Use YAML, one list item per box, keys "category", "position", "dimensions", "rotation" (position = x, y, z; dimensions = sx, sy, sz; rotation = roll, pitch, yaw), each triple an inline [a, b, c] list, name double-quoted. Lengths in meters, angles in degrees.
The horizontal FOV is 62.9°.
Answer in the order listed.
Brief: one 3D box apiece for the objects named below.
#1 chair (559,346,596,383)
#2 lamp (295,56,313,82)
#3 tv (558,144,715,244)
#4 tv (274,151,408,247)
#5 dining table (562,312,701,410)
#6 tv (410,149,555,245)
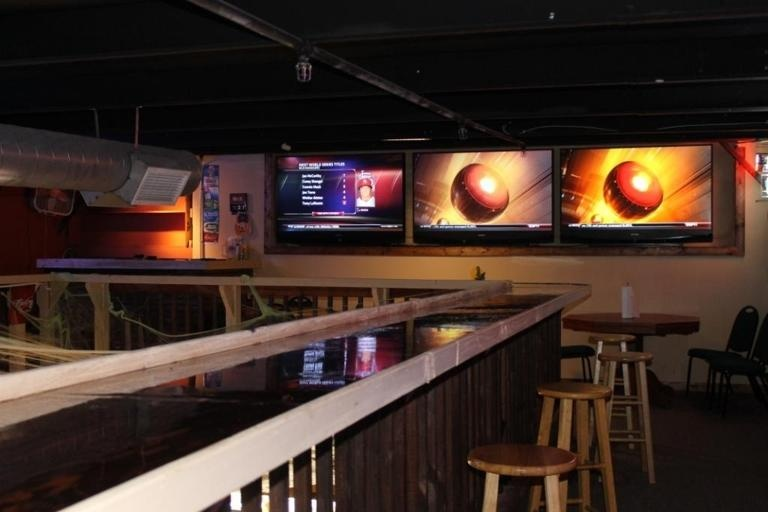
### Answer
- category: "chair"
  position: [1.993, 1.119, 6.639]
  dimensions: [0.442, 0.442, 0.495]
  rotation: [3, 4, 12]
- category: "lamp"
  position: [-0.489, -1.138, 3.827]
  dimensions: [0.078, 0.126, 0.180]
  rotation: [0, 9, -11]
- category: "tv"
  position: [2.993, -0.733, 7.276]
  dimensions: [1.268, 0.795, 0.055]
  rotation: [0, -1, 10]
- category: "tv"
  position: [-0.471, -0.736, 7.845]
  dimensions: [1.296, 0.832, 0.132]
  rotation: [0, 3, 10]
- category: "dining table"
  position: [2.583, 1.066, 6.442]
  dimensions: [1.154, 0.811, 1.150]
  rotation: [-2, -2, 44]
- category: "tv"
  position: [1.262, -0.734, 7.592]
  dimensions: [1.254, 0.816, 0.094]
  rotation: [1, -4, 6]
